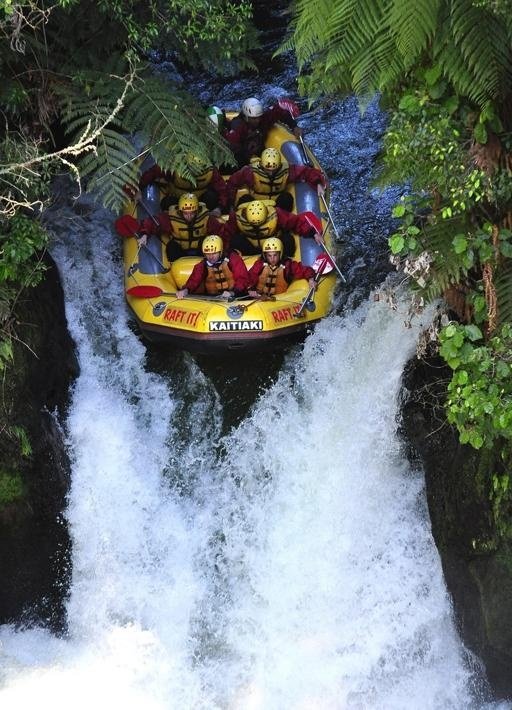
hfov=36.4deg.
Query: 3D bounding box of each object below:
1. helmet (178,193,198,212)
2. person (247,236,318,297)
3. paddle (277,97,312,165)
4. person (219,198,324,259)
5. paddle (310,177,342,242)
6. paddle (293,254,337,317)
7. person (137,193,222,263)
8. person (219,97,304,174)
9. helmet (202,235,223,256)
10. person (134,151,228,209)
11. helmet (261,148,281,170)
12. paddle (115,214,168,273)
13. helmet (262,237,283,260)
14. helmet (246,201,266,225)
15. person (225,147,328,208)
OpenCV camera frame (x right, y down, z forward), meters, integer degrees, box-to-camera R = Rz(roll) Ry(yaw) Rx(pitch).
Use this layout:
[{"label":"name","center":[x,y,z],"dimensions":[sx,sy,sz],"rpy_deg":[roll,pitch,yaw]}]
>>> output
[{"label":"helmet","center":[-0.733,-1.609,8.259],"dimensions":[0.211,0.204,0.260],"rpy_deg":[-10,29,-6]},{"label":"person","center":[0.168,-0.846,7.955],"dimensions":[0.559,0.289,0.749],"rpy_deg":[2,-11,8]},{"label":"paddle","center":[0.510,-2.658,9.386],"dimensions":[0.287,0.171,1.175],"rpy_deg":[-14,60,-11]},{"label":"person","center":[0.130,-1.359,8.619],"dimensions":[1.163,0.620,0.516],"rpy_deg":[4,-9,3]},{"label":"paddle","center":[0.769,-1.633,8.543],"dimensions":[0.144,0.818,0.136],"rpy_deg":[-20,-17,17]},{"label":"paddle","center":[0.560,-0.746,7.653],"dimensions":[0.272,0.142,0.813],"rpy_deg":[30,71,10]},{"label":"person","center":[-0.852,-1.339,8.344],"dimensions":[0.740,0.924,0.353],"rpy_deg":[-13,53,-4]},{"label":"person","center":[-0.171,-2.672,9.482],"dimensions":[0.875,0.464,1.230],"rpy_deg":[3,34,30]},{"label":"helmet","center":[-0.448,-1.128,7.912],"dimensions":[0.169,0.230,0.173],"rpy_deg":[-1,67,3]},{"label":"person","center":[-0.830,-1.808,8.072],"dimensions":[0.807,0.339,1.056],"rpy_deg":[-5,-11,-2]},{"label":"helmet","center":[0.148,-2.140,8.493],"dimensions":[0.182,0.202,0.252],"rpy_deg":[1,8,-2]},{"label":"paddle","center":[-1.203,-1.175,8.340],"dimensions":[0.211,0.831,0.054],"rpy_deg":[-43,40,-1]},{"label":"helmet","center":[0.167,-1.082,7.997],"dimensions":[0.200,0.273,0.340],"rpy_deg":[-6,29,3]},{"label":"helmet","center":[-0.001,-1.489,8.177],"dimensions":[0.196,0.187,0.246],"rpy_deg":[3,15,5]},{"label":"person","center":[0.219,-1.917,9.062],"dimensions":[1.125,1.300,0.417],"rpy_deg":[-1,59,3]}]
